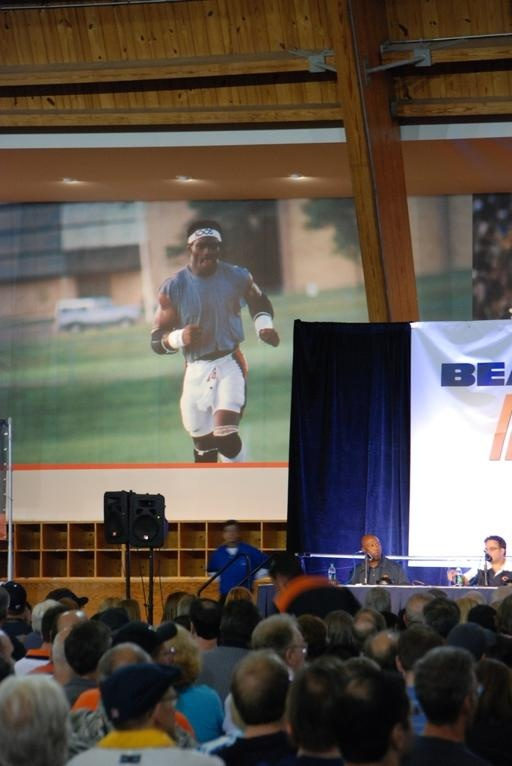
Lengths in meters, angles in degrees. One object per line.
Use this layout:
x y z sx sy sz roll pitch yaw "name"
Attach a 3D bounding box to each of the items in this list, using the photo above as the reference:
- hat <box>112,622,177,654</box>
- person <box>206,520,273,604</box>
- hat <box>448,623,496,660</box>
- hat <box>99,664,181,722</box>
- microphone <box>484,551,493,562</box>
-0.276 0.638 2.042 0.140 0.064 0.087 -13 16 -31 "hat"
-0.160 1.456 6.679 0.493 0.586 0.912 -3 -6 -5 "person"
0.628 0.766 2.388 0.110 0.077 0.168 -8 -8 36 "hat"
-0.210 0.556 1.445 0.145 0.093 0.101 -3 -6 -5 "hat"
1.738 1.306 6.070 0.023 0.062 0.050 -20 2 -33 "microphone"
